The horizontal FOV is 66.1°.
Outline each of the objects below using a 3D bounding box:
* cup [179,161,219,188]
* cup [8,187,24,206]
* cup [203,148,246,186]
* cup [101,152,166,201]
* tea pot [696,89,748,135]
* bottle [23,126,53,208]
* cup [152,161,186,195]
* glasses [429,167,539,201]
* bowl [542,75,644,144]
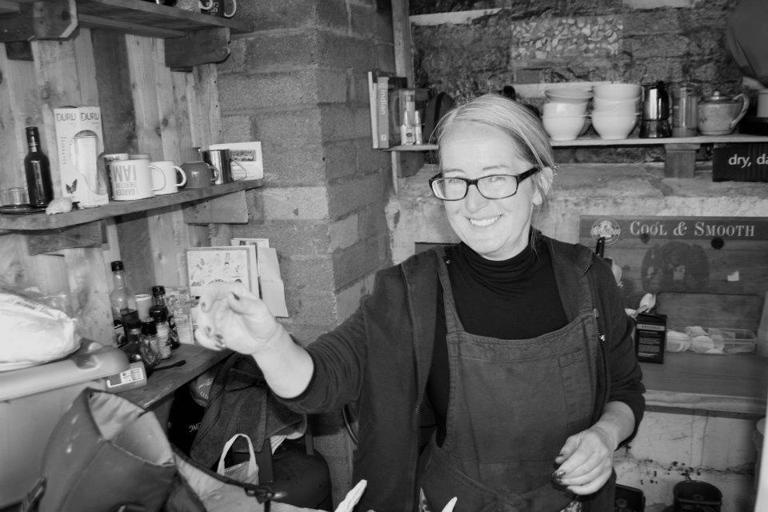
[{"bbox_3d":[-0.739,-0.335,2.387,0.138,0.082,0.098,3,5,21],"label":"cup"},{"bbox_3d":[-1.236,-0.201,1.987,0.049,0.058,0.034,-5,8,-29],"label":"cup"},{"bbox_3d":[-0.746,-0.398,2.566,0.231,0.175,0.128,0,10,8],"label":"cup"},{"bbox_3d":[-0.916,-0.280,2.161,0.197,0.124,0.116,-1,1,-15],"label":"cup"},{"bbox_3d":[1.664,-0.698,2.886,0.275,0.221,0.137,-2,7,-12],"label":"tea pot"},{"bbox_3d":[-1.157,-0.297,1.973,0.075,0.270,0.151,-5,9,-33],"label":"bottle"},{"bbox_3d":[-0.773,-0.299,2.251,0.163,0.126,0.096,4,6,13],"label":"cup"},{"bbox_3d":[0.287,-0.208,1.701,0.317,0.098,0.129,1,7,10],"label":"glasses"},{"bbox_3d":[1.031,-0.715,2.971,0.539,0.254,0.329,-1,10,17],"label":"bowl"}]
